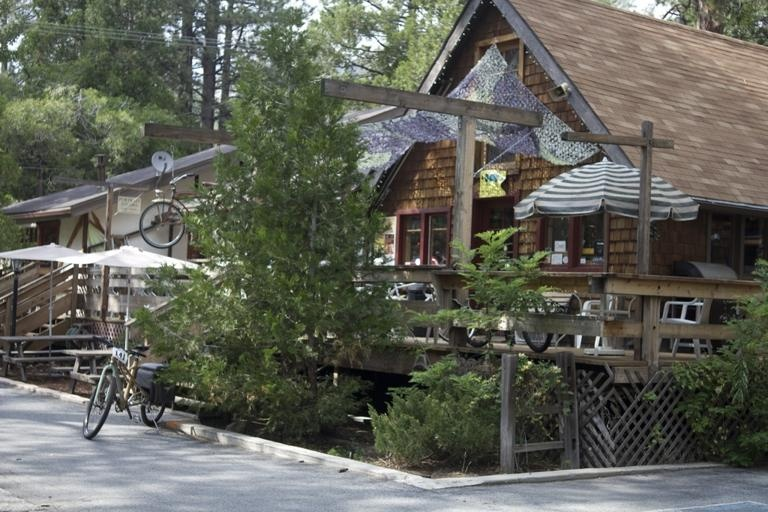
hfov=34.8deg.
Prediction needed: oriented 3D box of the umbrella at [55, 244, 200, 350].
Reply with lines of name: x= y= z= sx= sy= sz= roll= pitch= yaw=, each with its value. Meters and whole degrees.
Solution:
umbrella: x=-6.471 y=1.096 z=30.556 sx=2.734 sy=2.265 sz=2.730 roll=0 pitch=-5 yaw=2

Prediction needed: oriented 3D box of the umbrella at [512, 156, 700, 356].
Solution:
umbrella: x=4.894 y=-0.930 z=27.137 sx=3.721 sy=2.569 sz=3.772 roll=2 pitch=1 yaw=-4

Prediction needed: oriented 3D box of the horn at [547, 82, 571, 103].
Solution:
horn: x=4.056 y=-3.822 z=28.361 sx=0.295 sy=0.371 sz=0.507 roll=9 pitch=-6 yaw=-35

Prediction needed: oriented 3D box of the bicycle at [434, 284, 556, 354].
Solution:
bicycle: x=2.555 y=1.396 z=25.679 sx=2.503 sy=1.291 sz=1.098 roll=1 pitch=1 yaw=22
